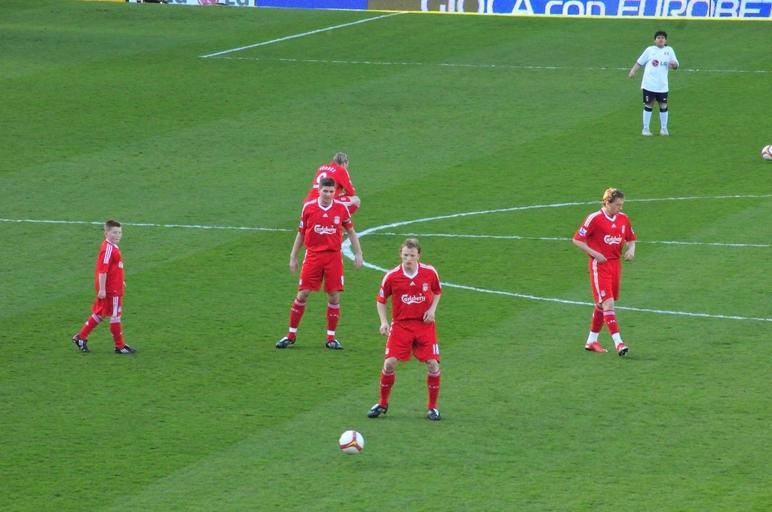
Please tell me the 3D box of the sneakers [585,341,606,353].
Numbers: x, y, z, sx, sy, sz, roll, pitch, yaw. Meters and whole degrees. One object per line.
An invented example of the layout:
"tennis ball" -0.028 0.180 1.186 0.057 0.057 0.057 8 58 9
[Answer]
"sneakers" 3.718 1.624 24.432 0.361 0.102 0.175 1 8 18

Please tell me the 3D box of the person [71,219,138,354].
"person" -5.008 0.574 24.037 1.002 2.324 0.720 -5 18 -11

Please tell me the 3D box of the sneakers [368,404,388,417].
"sneakers" -0.136 2.533 22.328 0.386 0.129 0.168 -4 8 -20

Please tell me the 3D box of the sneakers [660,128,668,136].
"sneakers" 7.297 -3.246 36.170 0.347 0.215 0.157 -1 2 -2

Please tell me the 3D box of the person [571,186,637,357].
"person" 3.857 0.280 24.376 0.998 2.849 1.181 1 17 8

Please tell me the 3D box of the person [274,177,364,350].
"person" -1.159 0.128 24.423 1.455 3.030 0.924 -5 18 -10

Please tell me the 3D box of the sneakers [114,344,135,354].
"sneakers" -4.550 1.659 24.144 0.372 0.114 0.149 0 6 4

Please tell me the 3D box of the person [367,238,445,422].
"person" 0.306 1.183 22.268 1.118 2.909 0.872 -1 18 2

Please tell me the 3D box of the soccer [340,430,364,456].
"soccer" -0.525 2.897 21.350 0.395 0.401 0.478 -1 14 0
